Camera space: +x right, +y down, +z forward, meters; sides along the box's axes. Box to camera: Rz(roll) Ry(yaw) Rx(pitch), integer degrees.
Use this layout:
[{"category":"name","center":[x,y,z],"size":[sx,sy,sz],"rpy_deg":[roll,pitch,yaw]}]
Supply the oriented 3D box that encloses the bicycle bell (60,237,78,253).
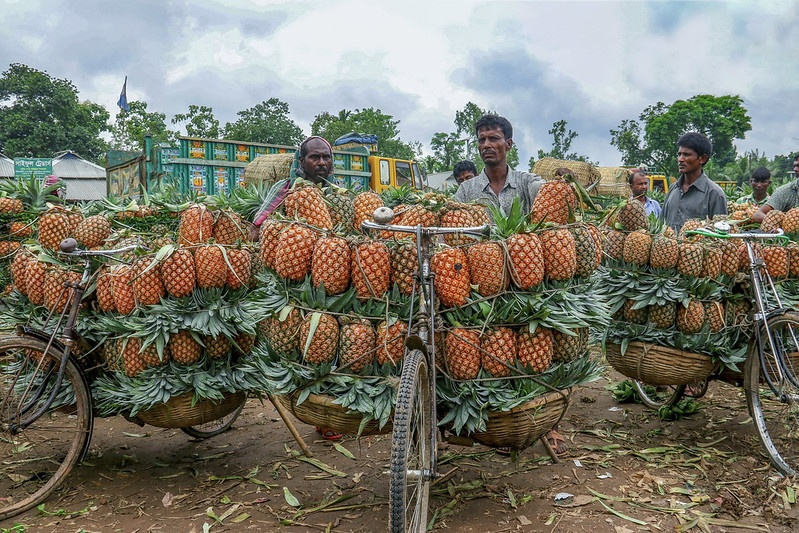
[{"category":"bicycle bell","center":[-2.807,-0.188,5.724],"size":[0.139,0.088,0.130],"rpy_deg":[0,0,-1]}]

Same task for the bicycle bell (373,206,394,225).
[{"category":"bicycle bell","center":[-0.115,-0.382,5.012],"size":[0.140,0.125,0.173],"rpy_deg":[1,7,-2]}]

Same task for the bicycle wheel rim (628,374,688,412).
[{"category":"bicycle wheel rim","center":[2.764,1.378,7.171],"size":[0.535,0.190,0.480],"rpy_deg":[-3,1,31]}]
